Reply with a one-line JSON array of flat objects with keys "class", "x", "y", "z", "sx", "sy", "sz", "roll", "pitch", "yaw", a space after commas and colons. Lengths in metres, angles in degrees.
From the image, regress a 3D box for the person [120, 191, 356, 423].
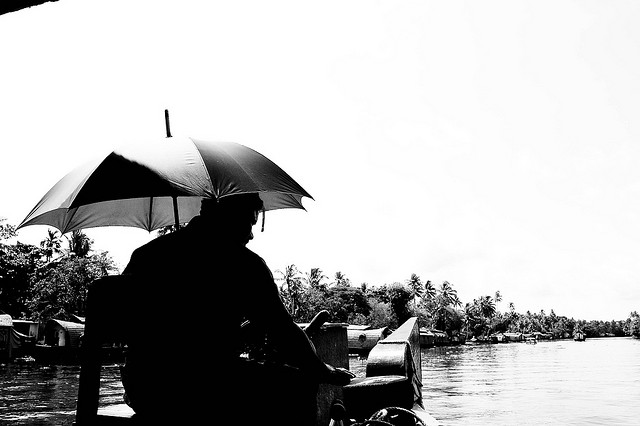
[{"class": "person", "x": -0.700, "y": 0.634, "z": 4.120, "sx": 1.350, "sy": 1.650, "sz": 0.579, "roll": 4, "pitch": -15, "yaw": -19}]
